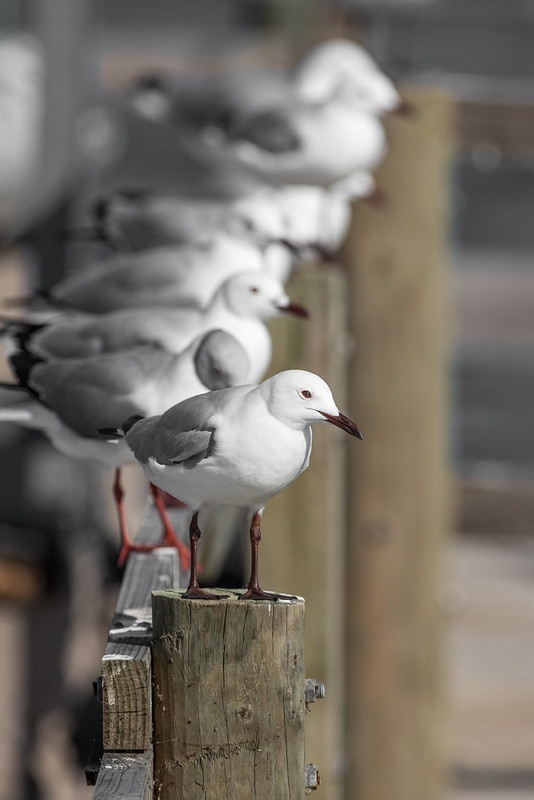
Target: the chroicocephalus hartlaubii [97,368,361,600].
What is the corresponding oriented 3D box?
[{"bbox_3d":[-0.063,0.130,3.062,0.314,0.491,0.698,3,-6,-37],"label":"chroicocephalus hartlaubii"}]
